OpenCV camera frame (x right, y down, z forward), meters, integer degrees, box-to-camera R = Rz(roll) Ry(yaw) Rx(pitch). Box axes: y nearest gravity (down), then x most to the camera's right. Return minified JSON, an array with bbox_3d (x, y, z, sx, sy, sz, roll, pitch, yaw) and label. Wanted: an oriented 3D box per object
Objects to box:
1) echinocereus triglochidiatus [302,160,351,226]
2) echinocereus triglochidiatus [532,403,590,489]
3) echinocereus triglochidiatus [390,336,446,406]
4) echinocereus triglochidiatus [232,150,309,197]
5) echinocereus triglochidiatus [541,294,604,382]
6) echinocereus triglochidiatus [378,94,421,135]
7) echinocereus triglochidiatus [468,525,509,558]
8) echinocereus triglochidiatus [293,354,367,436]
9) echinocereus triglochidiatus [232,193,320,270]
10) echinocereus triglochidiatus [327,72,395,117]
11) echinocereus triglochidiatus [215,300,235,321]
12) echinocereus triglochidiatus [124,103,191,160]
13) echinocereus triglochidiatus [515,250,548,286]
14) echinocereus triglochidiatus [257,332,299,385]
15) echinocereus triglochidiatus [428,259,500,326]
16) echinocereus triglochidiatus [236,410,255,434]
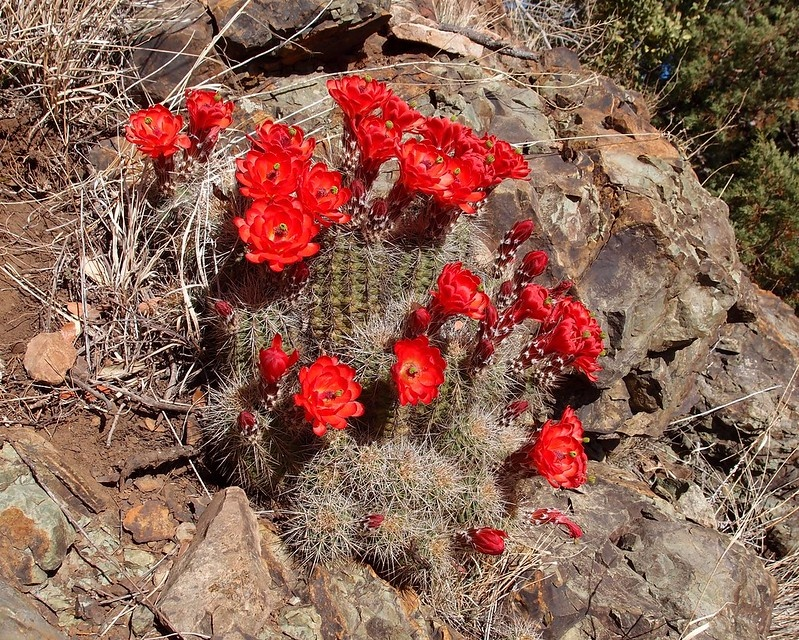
[{"bbox_3d":[-0.458,-0.741,4.187,0.295,0.152,0.343,-14,77,-38],"label":"echinocereus triglochidiatus"},{"bbox_3d":[0.922,0.795,4.448,0.261,0.613,0.631,8,78,8],"label":"echinocereus triglochidiatus"},{"bbox_3d":[0.104,0.288,4.033,0.308,0.153,0.375,-9,89,-21],"label":"echinocereus triglochidiatus"},{"bbox_3d":[-0.744,-0.849,4.191,0.308,0.142,0.326,-26,56,-22],"label":"echinocereus triglochidiatus"},{"bbox_3d":[1.116,0.114,4.639,0.336,0.389,0.389,40,22,-11],"label":"echinocereus triglochidiatus"},{"bbox_3d":[0.001,-1.282,4.484,0.253,0.145,0.266,-26,92,-52],"label":"echinocereus triglochidiatus"},{"bbox_3d":[0.531,1.305,4.259,0.206,0.107,0.160,26,55,13],"label":"echinocereus triglochidiatus"},{"bbox_3d":[-0.378,0.407,3.956,0.361,0.187,0.369,-35,77,-31],"label":"echinocereus triglochidiatus"},{"bbox_3d":[-0.694,-0.495,4.052,0.419,0.223,0.425,-24,72,-29],"label":"echinocereus triglochidiatus"},{"bbox_3d":[-0.242,-1.383,4.437,0.402,0.167,0.303,-9,65,-23],"label":"echinocereus triglochidiatus"},{"bbox_3d":[-1.030,-0.061,4.291,0.082,0.121,0.067,1,35,30],"label":"echinocereus triglochidiatus"},{"bbox_3d":[-1.489,-1.172,4.378,0.344,0.179,0.364,-9,63,-23],"label":"echinocereus triglochidiatus"},{"bbox_3d":[0.874,-0.344,4.693,0.157,0.253,0.119,37,42,5],"label":"echinocereus triglochidiatus"},{"bbox_3d":[-0.711,0.231,4.155,0.187,0.267,0.215,8,26,-40],"label":"echinocereus triglochidiatus"},{"bbox_3d":[0.370,-0.161,4.256,0.341,0.337,0.351,-29,84,-49],"label":"echinocereus triglochidiatus"},{"bbox_3d":[-0.895,0.594,4.201,0.058,0.174,0.062,32,93,-6],"label":"echinocereus triglochidiatus"}]
